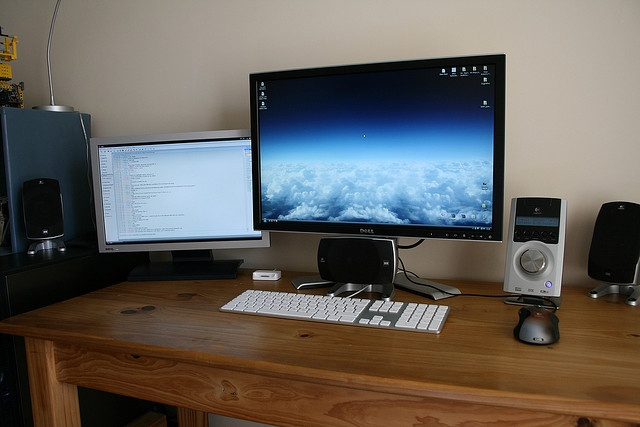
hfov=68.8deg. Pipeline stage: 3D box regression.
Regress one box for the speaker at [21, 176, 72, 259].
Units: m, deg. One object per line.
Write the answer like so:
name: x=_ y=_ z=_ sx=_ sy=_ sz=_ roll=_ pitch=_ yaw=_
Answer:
speaker: x=-1.064 y=0.002 z=1.794 sx=0.141 sy=0.270 sz=0.200 roll=-8 pitch=12 yaw=-27

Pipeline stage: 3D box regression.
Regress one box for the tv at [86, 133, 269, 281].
tv: x=-0.528 y=-0.035 z=1.753 sx=0.784 sy=0.532 sz=0.281 roll=-2 pitch=9 yaw=25

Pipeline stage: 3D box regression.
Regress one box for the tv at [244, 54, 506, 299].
tv: x=0.200 y=-0.124 z=1.536 sx=1.061 sy=0.721 sz=0.292 roll=1 pitch=4 yaw=15

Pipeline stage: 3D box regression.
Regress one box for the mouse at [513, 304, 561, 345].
mouse: x=0.613 y=0.289 z=1.297 sx=0.115 sy=0.045 sz=0.173 roll=5 pitch=24 yaw=20
